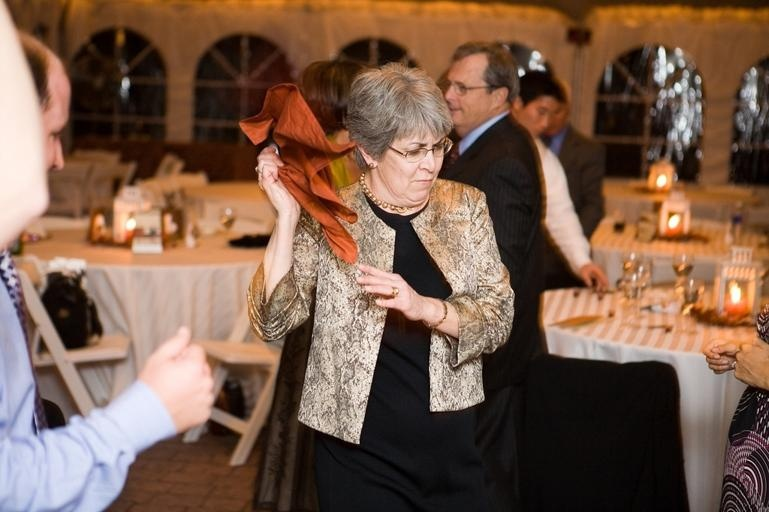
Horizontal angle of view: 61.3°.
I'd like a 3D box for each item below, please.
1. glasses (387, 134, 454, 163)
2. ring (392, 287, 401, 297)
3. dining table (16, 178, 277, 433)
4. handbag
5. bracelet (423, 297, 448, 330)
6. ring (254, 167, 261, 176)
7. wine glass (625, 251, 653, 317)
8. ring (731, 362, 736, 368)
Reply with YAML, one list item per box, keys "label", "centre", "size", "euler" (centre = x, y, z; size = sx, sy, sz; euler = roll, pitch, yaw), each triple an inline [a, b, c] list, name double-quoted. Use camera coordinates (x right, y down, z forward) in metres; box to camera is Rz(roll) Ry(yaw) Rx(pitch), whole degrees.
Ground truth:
- label: "glasses"
  centre: [0.102, -0.332, 2.037]
  size: [0.180, 0.069, 0.031]
  euler: [-2, 9, -12]
- label: "ring"
  centre: [0.033, 0.102, 1.859]
  size: [0.008, 0.024, 0.023]
  euler: [8, 2, -14]
- label: "dining table"
  centre: [-1.318, 0.119, 4.402]
  size: [1.661, 1.141, 1.700]
  euler: [-8, 18, -21]
- label: "handbag"
  centre: [-1.568, 0.282, 3.258]
  size: [0.247, 0.355, 0.140]
  euler: [-18, 25, -32]
- label: "bracelet"
  centre: [0.165, 0.177, 1.995]
  size: [0.019, 0.078, 0.077]
  euler: [31, 5, 3]
- label: "ring"
  centre: [-0.390, -0.265, 2.005]
  size: [0.006, 0.030, 0.041]
  euler: [-4, 10, -24]
- label: "wine glass"
  centre: [1.286, 0.122, 3.314]
  size: [0.139, 0.265, 0.247]
  euler: [4, 10, 21]
- label: "ring"
  centre: [1.238, 0.383, 2.303]
  size: [0.008, 0.025, 0.018]
  euler: [13, 18, 26]
